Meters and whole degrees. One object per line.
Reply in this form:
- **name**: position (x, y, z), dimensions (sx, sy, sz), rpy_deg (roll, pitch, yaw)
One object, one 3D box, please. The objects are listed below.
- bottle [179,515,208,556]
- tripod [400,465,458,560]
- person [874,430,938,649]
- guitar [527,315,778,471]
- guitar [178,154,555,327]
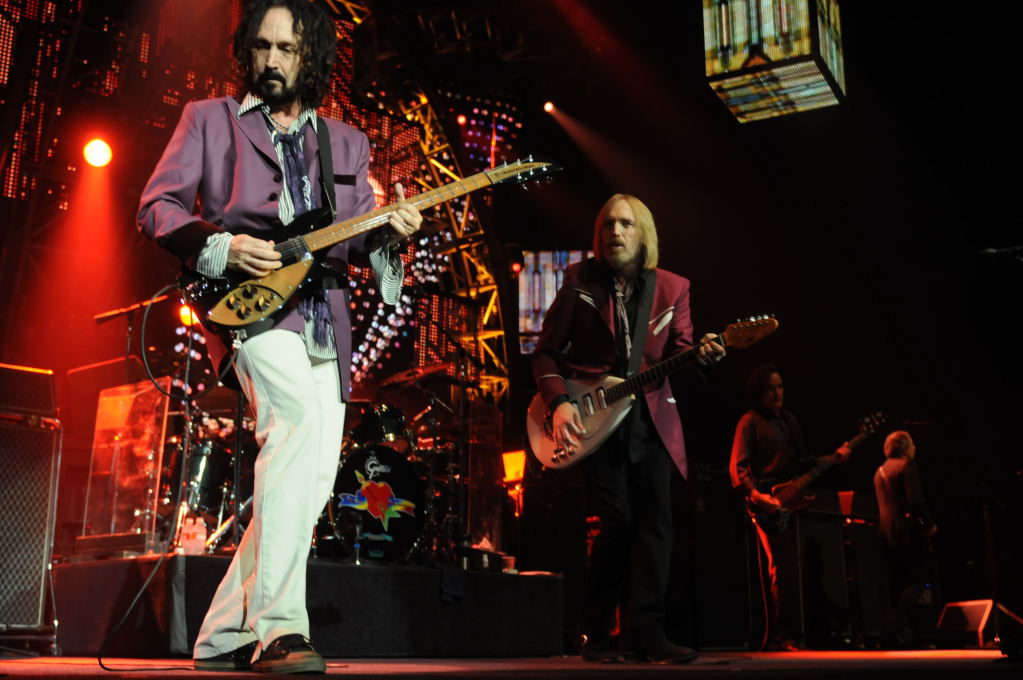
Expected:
- **bottle**: position (-2.748, 1.689, 7.616), dimensions (0.229, 0.330, 0.119), rpy_deg (24, -43, -36)
- **tripod**: position (-0.739, 1.785, 8.883), dimensions (0.784, 0.781, 0.194), rpy_deg (0, 7, 21)
- **person**: position (4.722, 2.337, 10.589), dimensions (0.593, 2.446, 1.089), rpy_deg (-6, -16, 22)
- **guitar**: position (1.261, 0.527, 7.733), dimensions (1.840, 0.726, 0.256), rpy_deg (-28, -21, 9)
- **guitar**: position (-1.170, -0.876, 7.956), dimensions (2.779, 0.847, 0.335), rpy_deg (-30, -16, -25)
